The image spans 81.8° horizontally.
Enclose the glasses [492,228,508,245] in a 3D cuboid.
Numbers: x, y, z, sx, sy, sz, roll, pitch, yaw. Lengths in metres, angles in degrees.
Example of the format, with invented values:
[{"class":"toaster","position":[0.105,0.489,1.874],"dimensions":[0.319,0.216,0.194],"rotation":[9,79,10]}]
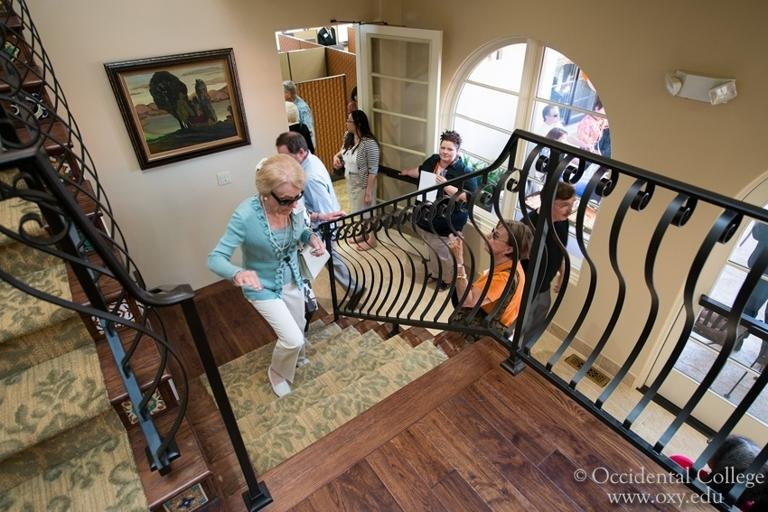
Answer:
[{"class":"glasses","position":[0.841,-0.172,3.249],"dimensions":[0.119,0.037,0.117],"rotation":[-25,43,-18]}]

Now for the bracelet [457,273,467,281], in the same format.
[{"class":"bracelet","position":[0.619,0.157,3.573],"dimensions":[0.076,0.037,0.098],"rotation":[2,4,15]}]

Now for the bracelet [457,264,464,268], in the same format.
[{"class":"bracelet","position":[0.554,0.062,3.241],"dimensions":[0.032,0.017,0.047],"rotation":[0,10,8]}]

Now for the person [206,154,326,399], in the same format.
[{"class":"person","position":[-0.827,0.137,3.384],"dimensions":[0.594,1.775,0.821],"rotation":[12,33,18]}]

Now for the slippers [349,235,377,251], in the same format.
[{"class":"slippers","position":[-0.243,-0.167,5.262],"dimensions":[0.141,0.087,0.248],"rotation":[-5,24,-22]}]

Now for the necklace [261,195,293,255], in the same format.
[{"class":"necklace","position":[-0.753,-0.246,3.210],"dimensions":[0.206,0.417,0.144],"rotation":[-10,33,-15]}]

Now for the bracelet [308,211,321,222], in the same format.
[{"class":"bracelet","position":[-0.698,-0.405,4.474],"dimensions":[0.115,0.120,0.076],"rotation":[3,60,-45]}]

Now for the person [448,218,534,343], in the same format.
[{"class":"person","position":[0.782,0.188,3.268],"dimensions":[0.568,0.974,0.499],"rotation":[19,54,13]}]

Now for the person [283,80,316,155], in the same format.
[{"class":"person","position":[-1.285,-1.979,6.698],"dimensions":[0.459,1.415,0.434],"rotation":[3,53,-1]}]

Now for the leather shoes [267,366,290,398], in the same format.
[{"class":"leather shoes","position":[-0.843,1.026,3.583],"dimensions":[0.118,0.077,0.283],"rotation":[-29,73,-19]}]
